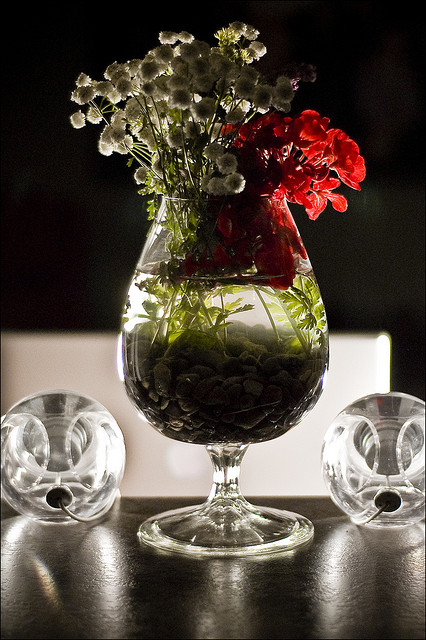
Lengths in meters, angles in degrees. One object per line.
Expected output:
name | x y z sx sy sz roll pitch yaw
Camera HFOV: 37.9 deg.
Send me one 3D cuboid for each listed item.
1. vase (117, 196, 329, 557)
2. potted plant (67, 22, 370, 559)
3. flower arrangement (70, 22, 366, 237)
vase | 0.011 0.039 0.515 0.162 0.158 0.274 0 89 12
potted plant | 0.022 -0.028 0.522 0.226 0.405 0.187 0 -2 42
flower arrangement | -0.001 -0.147 0.485 0.170 0.144 0.193 -25 56 -19
